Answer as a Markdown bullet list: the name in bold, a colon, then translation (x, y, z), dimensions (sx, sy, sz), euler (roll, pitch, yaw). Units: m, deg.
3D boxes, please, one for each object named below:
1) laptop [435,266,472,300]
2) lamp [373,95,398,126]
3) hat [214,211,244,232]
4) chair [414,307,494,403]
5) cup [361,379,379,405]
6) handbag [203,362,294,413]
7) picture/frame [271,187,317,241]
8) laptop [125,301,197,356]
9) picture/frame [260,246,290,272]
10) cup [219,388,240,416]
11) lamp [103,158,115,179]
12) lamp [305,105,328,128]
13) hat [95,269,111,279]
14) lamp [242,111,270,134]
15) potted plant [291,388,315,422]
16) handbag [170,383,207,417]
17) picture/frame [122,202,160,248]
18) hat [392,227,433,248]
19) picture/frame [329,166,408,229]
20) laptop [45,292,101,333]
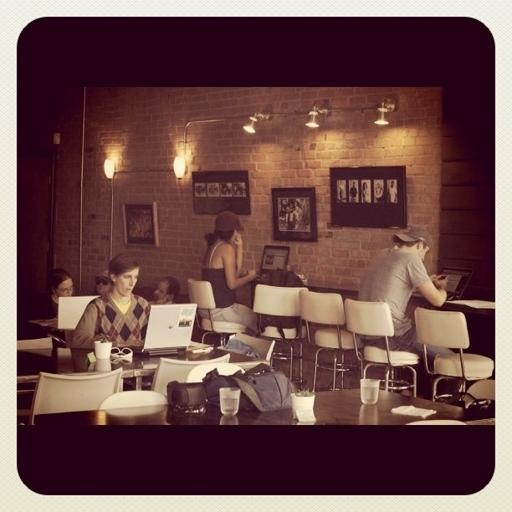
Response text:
- **laptop**: translation (1.649, 0.208, 4.154), dimensions (0.065, 0.233, 0.215), euler (33, -14, -32)
- **lamp**: translation (1.171, -1.351, 4.699), dimensions (0.154, 0.265, 0.271), euler (0, 2, -27)
- **hat**: translation (-0.270, -0.370, 5.294), dimensions (0.183, 0.145, 0.260), euler (12, 20, 30)
- **chair**: translation (1.250, 0.656, 3.217), dimensions (0.468, 0.665, 0.449), euler (2, 2, 31)
- **cup**: translation (0.446, 0.539, 2.015), dimensions (0.085, 0.094, 0.073), euler (0, -3, 12)
- **handbag**: translation (-0.026, 0.502, 1.945), dimensions (0.222, 0.100, 0.179), euler (-2, -7, 33)
- **picture/frame**: translation (0.416, -0.447, 5.279), dimensions (0.514, 0.646, 0.038), euler (0, 5, 35)
- **laptop**: translation (-0.537, 0.363, 2.861), dimensions (0.314, 0.332, 0.248), euler (2, 8, -38)
- **picture/frame**: translation (0.209, 0.029, 5.310), dimensions (0.231, 0.293, 0.027), euler (6, -12, 38)
- **cup**: translation (-0.096, 0.516, 1.804), dimensions (0.081, 0.101, 0.084), euler (1, -2, 0)
- **lamp**: translation (-1.921, -1.131, 6.515), dimensions (0.209, 0.272, 0.077), euler (2, 2, 34)
- **lamp**: translation (0.606, -1.434, 5.134), dimensions (0.181, 0.252, 0.271), euler (0, 2, -21)
- **hat**: translation (-1.566, 0.179, 5.145), dimensions (0.145, 0.084, 0.197), euler (-2, 1, -7)
- **lamp**: translation (-0.024, -1.450, 5.454), dimensions (0.305, 0.242, 0.332), euler (0, 2, -22)
- **potted plant**: translation (0.173, 0.542, 1.805), dimensions (0.056, 0.062, 0.077), euler (0, -4, -3)
- **handbag**: translation (-0.251, 0.527, 1.863), dimensions (0.099, 0.083, 0.102), euler (6, -8, -29)
- **picture/frame**: translation (-1.426, -0.404, 6.319), dimensions (0.484, 0.527, 0.051), euler (6, 7, 30)
- **hat**: translation (1.266, -0.153, 4.027), dimensions (0.305, 0.125, 0.204), euler (8, -2, -16)
- **picture/frame**: translation (1.102, -0.570, 4.802), dimensions (0.557, 0.526, 0.061), euler (2, 4, 35)
- **laptop**: translation (-1.459, 0.424, 3.938), dimensions (0.460, 0.348, 0.336), euler (2, -4, -19)
